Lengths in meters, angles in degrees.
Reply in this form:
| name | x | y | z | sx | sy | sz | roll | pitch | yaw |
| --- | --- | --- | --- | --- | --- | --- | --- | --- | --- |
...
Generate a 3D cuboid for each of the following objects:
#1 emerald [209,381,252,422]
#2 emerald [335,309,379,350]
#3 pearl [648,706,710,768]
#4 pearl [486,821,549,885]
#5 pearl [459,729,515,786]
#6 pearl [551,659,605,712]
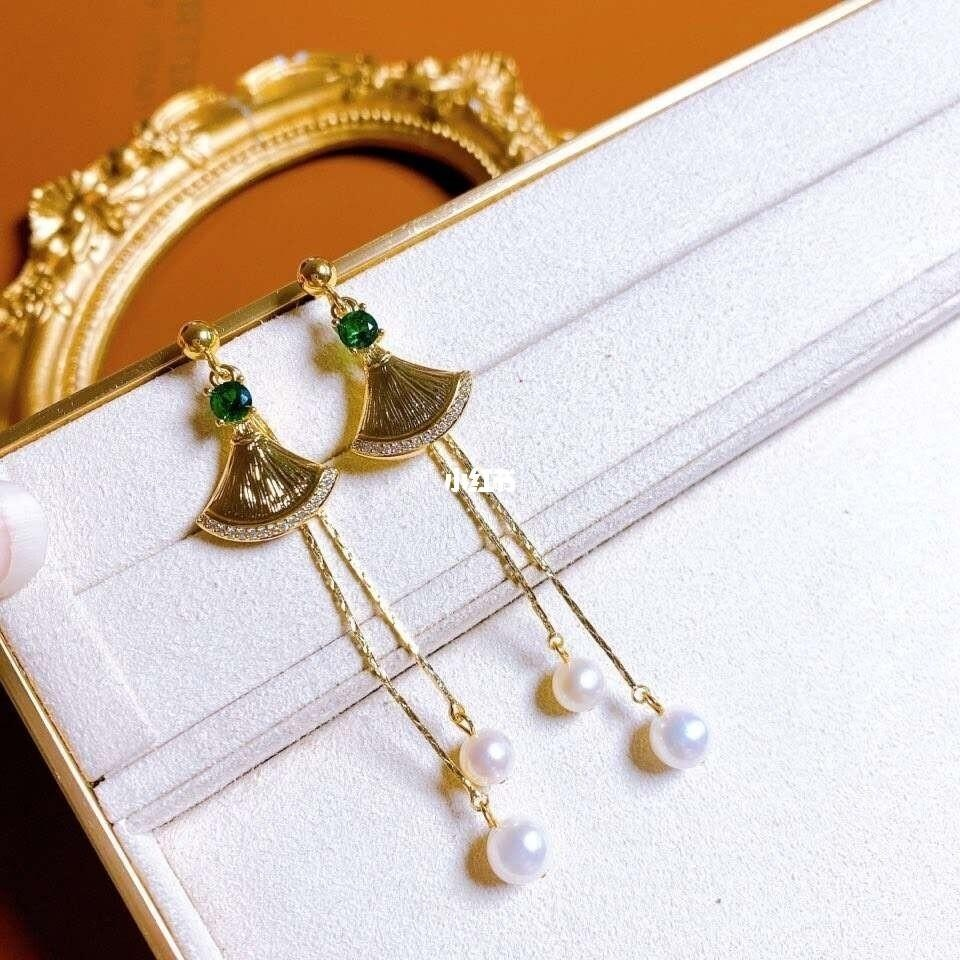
| name | x | y | z | sx | sy | sz | roll | pitch | yaw |
| --- | --- | --- | --- | --- | --- | --- | --- | --- | --- |
| emerald | -0.189 | -0.058 | 0.887 | 0.030 | 0.015 | 0.030 | -1 | -87 | 3 |
| emerald | -0.092 | -0.113 | 0.907 | 0.030 | 0.015 | 0.030 | 0 | -92 | -5 |
| pearl | 0.150 | 0.195 | 0.900 | 0.045 | 0.043 | 0.052 | -2 | -87 | -2 |
| pearl | 0.029 | 0.274 | 0.879 | 0.044 | 0.029 | 0.038 | -27 | -63 | 7 |
| pearl | 0.005 | 0.207 | 0.886 | 0.032 | 0.043 | 0.033 | -13 | -24 | -20 |
| pearl | 0.075 | 0.156 | 0.903 | 0.039 | 0.039 | 0.046 | -5 | -24 | 9 |
